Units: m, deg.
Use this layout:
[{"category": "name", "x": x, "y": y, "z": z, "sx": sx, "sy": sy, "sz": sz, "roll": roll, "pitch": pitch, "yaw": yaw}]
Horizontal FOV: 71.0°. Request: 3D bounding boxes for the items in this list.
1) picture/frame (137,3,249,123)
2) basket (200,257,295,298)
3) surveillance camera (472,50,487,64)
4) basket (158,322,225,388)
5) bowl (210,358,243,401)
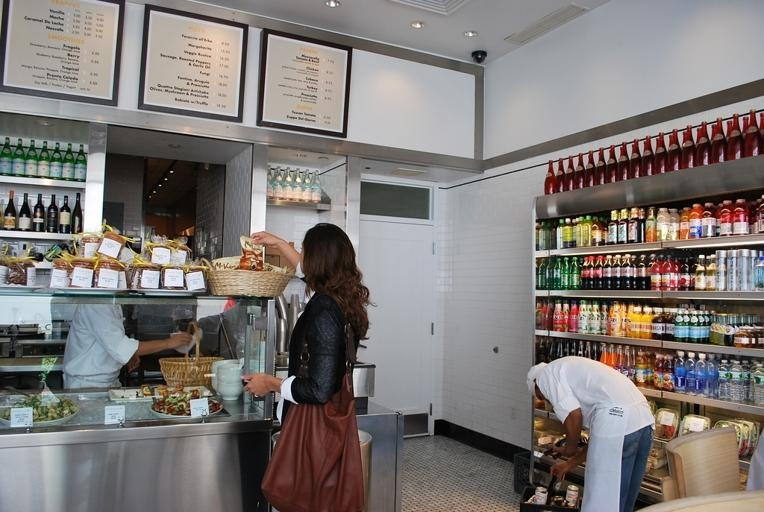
[{"category": "picture/frame", "x": -1.672, "y": -1.675, "z": 4.628, "sx": 1.101, "sy": 1.021, "sz": 0.079, "roll": 5, "pitch": 4, "yaw": -23}, {"category": "basket", "x": -0.815, "y": 0.134, "z": 3.338, "sx": 0.554, "sy": 0.192, "sz": 0.596, "roll": 3, "pitch": 3, "yaw": -42}, {"category": "surveillance camera", "x": 1.022, "y": -2.085, "z": 5.610, "sx": 0.097, "sy": 0.059, "sz": 0.096, "roll": 6, "pitch": -4, "yaw": -36}, {"category": "basket", "x": -1.132, "y": 0.612, "z": 3.155, "sx": 0.376, "sy": 0.360, "sz": 0.285, "roll": 7, "pitch": -10, "yaw": -33}, {"category": "bowl", "x": -0.920, "y": 0.741, "z": 3.204, "sx": 0.234, "sy": 0.246, "sz": 0.225, "roll": 0, "pitch": -4, "yaw": 0}]
